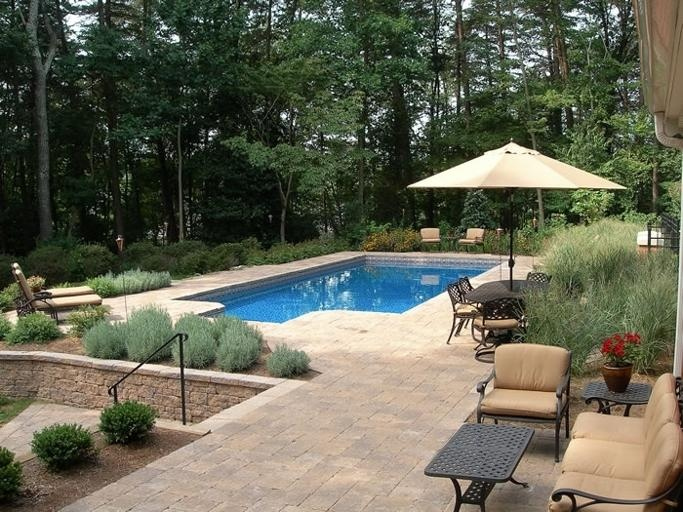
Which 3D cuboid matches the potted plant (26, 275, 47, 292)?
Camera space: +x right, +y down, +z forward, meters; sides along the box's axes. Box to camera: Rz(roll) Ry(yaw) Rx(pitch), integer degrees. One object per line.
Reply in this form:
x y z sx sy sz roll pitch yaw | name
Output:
-7.660 0.716 12.856 0.350 0.303 0.335 1 -3 -42 | potted plant

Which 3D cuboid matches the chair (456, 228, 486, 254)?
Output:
5.793 -0.741 23.719 1.114 1.273 1.255 1 1 29 | chair

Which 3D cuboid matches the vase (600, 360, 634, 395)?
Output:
3.046 1.342 5.690 0.325 0.274 0.333 -2 6 26 | vase

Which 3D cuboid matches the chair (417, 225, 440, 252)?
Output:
4.218 -0.809 24.555 1.050 1.192 1.050 0 3 4 | chair

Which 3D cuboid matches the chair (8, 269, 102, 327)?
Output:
-6.548 1.155 11.867 1.722 0.914 1.635 -1 5 -22 | chair

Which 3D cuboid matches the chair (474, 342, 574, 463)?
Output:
2.038 1.496 5.592 1.009 1.124 1.214 0 3 21 | chair

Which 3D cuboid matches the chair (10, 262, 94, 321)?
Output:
-6.754 0.903 12.070 1.837 0.882 1.784 -2 8 -23 | chair
